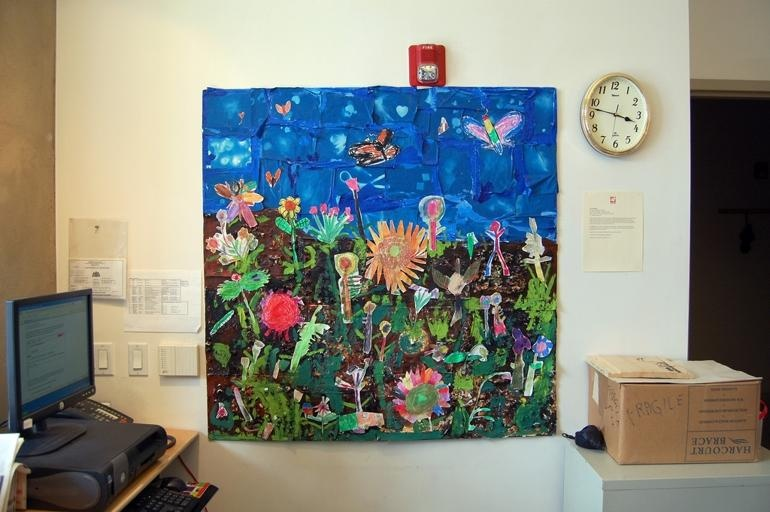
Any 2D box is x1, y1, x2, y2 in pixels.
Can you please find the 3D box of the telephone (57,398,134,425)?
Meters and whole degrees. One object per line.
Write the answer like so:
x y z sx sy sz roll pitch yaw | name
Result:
-1.506 0.819 3.412 0.253 0.081 0.192 9 10 0 | telephone

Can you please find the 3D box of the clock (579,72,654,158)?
1.238 -0.777 3.530 0.424 0.485 0.056 0 -2 -1 | clock

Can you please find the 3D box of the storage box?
1.536 0.753 3.414 0.582 0.358 0.606 1 -3 0 | storage box
